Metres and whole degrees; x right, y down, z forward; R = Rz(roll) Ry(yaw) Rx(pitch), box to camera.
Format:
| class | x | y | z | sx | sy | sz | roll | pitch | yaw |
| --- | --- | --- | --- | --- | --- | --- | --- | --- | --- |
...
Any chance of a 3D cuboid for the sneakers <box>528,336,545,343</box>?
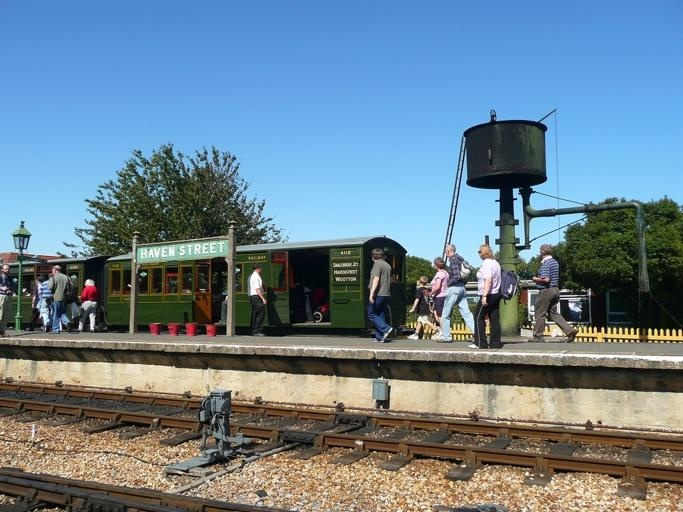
| class | x | y | z | sx | sy | sz | roll | pitch | yaw |
| --- | --- | --- | --- | --- | --- | --- | --- | --- | --- |
| sneakers | 4.462 | 1.928 | 14.843 | 0.337 | 0.163 | 0.164 | 2 | 0 | 36 |

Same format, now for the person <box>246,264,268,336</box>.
| class | x | y | z | sx | sy | sz | roll | pitch | yaw |
| --- | --- | --- | --- | --- | --- | --- | --- | --- | --- |
| person | -2.288 | 1.198 | 17.526 | 0.429 | 1.970 | 1.379 | -1 | 2 | -7 |

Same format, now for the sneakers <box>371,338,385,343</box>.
| class | x | y | z | sx | sy | sz | roll | pitch | yaw |
| --- | --- | --- | --- | --- | --- | --- | --- | --- | --- |
| sneakers | 0.840 | 2.011 | 15.109 | 0.271 | 0.110 | 0.155 | -3 | -4 | 44 |

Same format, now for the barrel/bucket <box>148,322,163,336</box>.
| class | x | y | z | sx | sy | sz | roll | pitch | yaw |
| --- | --- | --- | --- | --- | --- | --- | --- | --- | --- |
| barrel/bucket | -5.354 | 2.078 | 18.335 | 0.372 | 0.292 | 0.373 | 1 | 3 | 0 |

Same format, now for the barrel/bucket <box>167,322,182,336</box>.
| class | x | y | z | sx | sy | sz | roll | pitch | yaw |
| --- | --- | --- | --- | --- | --- | --- | --- | --- | --- |
| barrel/bucket | -4.623 | 2.018 | 17.864 | 0.410 | 0.329 | 0.423 | 1 | -2 | 0 |

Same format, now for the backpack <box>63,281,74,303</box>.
| class | x | y | z | sx | sy | sz | roll | pitch | yaw |
| --- | --- | --- | --- | --- | --- | --- | --- | --- | --- |
| backpack | -8.870 | 1.181 | 20.812 | 0.308 | 0.800 | 0.717 | -2 | 2 | -7 |

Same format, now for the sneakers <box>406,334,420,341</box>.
| class | x | y | z | sx | sy | sz | roll | pitch | yaw |
| --- | --- | --- | --- | --- | --- | --- | --- | --- | --- |
| sneakers | 1.885 | 2.173 | 17.167 | 0.120 | 0.160 | 0.337 | 3 | -3 | -38 |

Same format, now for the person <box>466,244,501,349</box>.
| class | x | y | z | sx | sy | sz | roll | pitch | yaw |
| --- | --- | --- | --- | --- | --- | --- | --- | --- | --- |
| person | 2.852 | 0.796 | 12.744 | 0.597 | 2.029 | 0.730 | -1 | 2 | 17 |

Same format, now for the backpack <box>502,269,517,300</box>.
| class | x | y | z | sx | sy | sz | roll | pitch | yaw |
| --- | --- | --- | --- | --- | --- | --- | --- | --- | --- |
| backpack | 3.402 | 0.604 | 13.040 | 0.315 | 0.580 | 0.779 | -1 | 2 | 15 |

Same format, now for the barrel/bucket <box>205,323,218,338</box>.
| class | x | y | z | sx | sy | sz | roll | pitch | yaw |
| --- | --- | --- | --- | --- | --- | --- | --- | --- | --- |
| barrel/bucket | -3.606 | 2.054 | 17.763 | 0.321 | 0.274 | 0.343 | 1 | 1 | 0 |

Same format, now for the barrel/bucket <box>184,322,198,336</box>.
| class | x | y | z | sx | sy | sz | roll | pitch | yaw |
| --- | --- | --- | --- | --- | --- | --- | --- | --- | --- |
| barrel/bucket | -4.172 | 2.023 | 17.854 | 0.370 | 0.305 | 0.373 | 0 | 1 | 0 |

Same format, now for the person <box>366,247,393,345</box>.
| class | x | y | z | sx | sy | sz | roll | pitch | yaw |
| --- | --- | --- | --- | --- | --- | --- | --- | --- | --- |
| person | 0.859 | 0.941 | 14.872 | 0.523 | 2.183 | 0.969 | -1 | 2 | 1 |

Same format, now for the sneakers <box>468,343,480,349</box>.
| class | x | y | z | sx | sy | sz | roll | pitch | yaw |
| --- | --- | --- | --- | --- | --- | --- | --- | --- | --- |
| sneakers | 2.646 | 1.819 | 12.935 | 0.094 | 0.123 | 0.280 | 2 | -2 | -21 |
